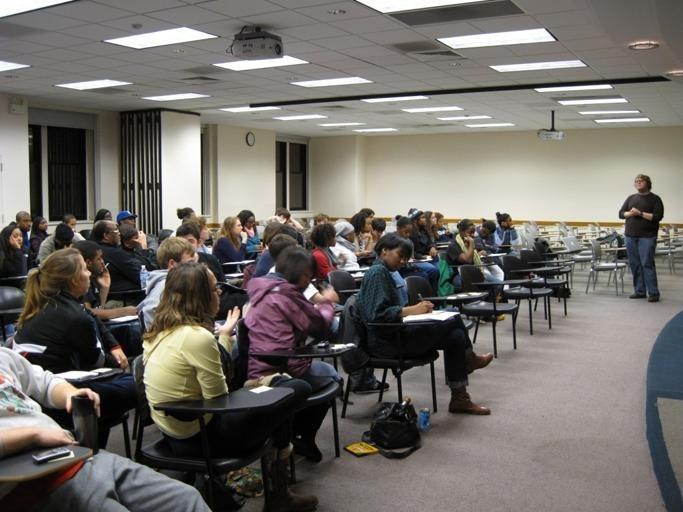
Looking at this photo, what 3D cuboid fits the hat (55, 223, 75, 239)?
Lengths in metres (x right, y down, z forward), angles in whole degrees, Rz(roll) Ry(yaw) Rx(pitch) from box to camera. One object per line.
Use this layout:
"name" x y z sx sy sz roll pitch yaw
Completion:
"hat" -3.546 -0.305 6.064 0.215 0.224 0.273 -7 19 -26

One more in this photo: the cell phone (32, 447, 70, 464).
"cell phone" -0.879 0.603 1.441 0.105 0.018 0.098 -5 4 -35

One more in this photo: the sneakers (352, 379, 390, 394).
"sneakers" 0.234 1.164 4.301 0.399 0.148 0.131 -1 -3 -12

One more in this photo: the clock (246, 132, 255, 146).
"clock" -2.938 -3.746 15.308 0.080 0.473 0.397 0 5 33

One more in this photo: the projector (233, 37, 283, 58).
"projector" -1.054 -2.569 5.942 0.394 0.147 0.297 1 5 23

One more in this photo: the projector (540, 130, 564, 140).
"projector" 5.334 -3.027 11.909 0.658 0.267 0.479 -6 6 -39

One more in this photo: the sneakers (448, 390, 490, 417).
"sneakers" 0.963 1.194 3.833 0.423 0.268 0.147 -3 -3 4

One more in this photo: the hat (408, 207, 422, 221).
"hat" 1.297 -0.736 8.427 0.421 0.175 0.410 -9 2 14

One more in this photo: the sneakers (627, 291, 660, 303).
"sneakers" 5.403 0.737 8.486 0.490 0.195 0.164 8 5 31

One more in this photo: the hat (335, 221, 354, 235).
"hat" 0.047 -0.362 6.370 0.233 0.169 0.165 -10 15 -21
